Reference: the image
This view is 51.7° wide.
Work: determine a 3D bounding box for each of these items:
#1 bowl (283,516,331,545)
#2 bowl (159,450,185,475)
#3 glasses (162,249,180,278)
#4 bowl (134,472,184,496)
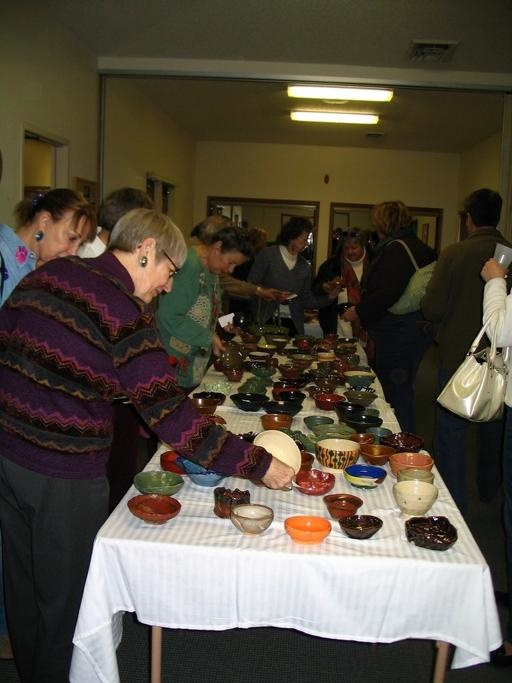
[{"bbox_3d":[0.108,0.379,1.063,0.056,0.021,0.051,-1,9,0],"label":"bowl"},{"bbox_3d":[-0.228,0.317,1.391,0.053,0.024,0.059,3,2,5],"label":"bowl"},{"bbox_3d":[-0.212,-0.195,1.270,0.012,0.040,0.039,-37,-6,3],"label":"glasses"},{"bbox_3d":[-0.240,0.338,1.268,0.074,0.022,0.066,1,11,-26],"label":"bowl"}]
